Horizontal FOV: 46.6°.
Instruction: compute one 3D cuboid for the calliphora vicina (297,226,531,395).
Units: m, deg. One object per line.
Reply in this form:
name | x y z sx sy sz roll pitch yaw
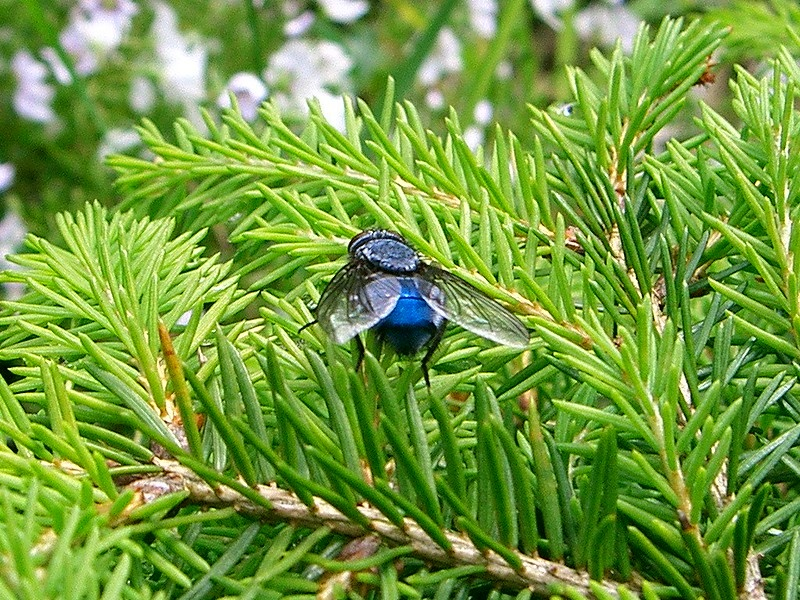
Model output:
calliphora vicina | 0.024 -0.010 0.809 0.186 0.076 0.141 7 38 -24
